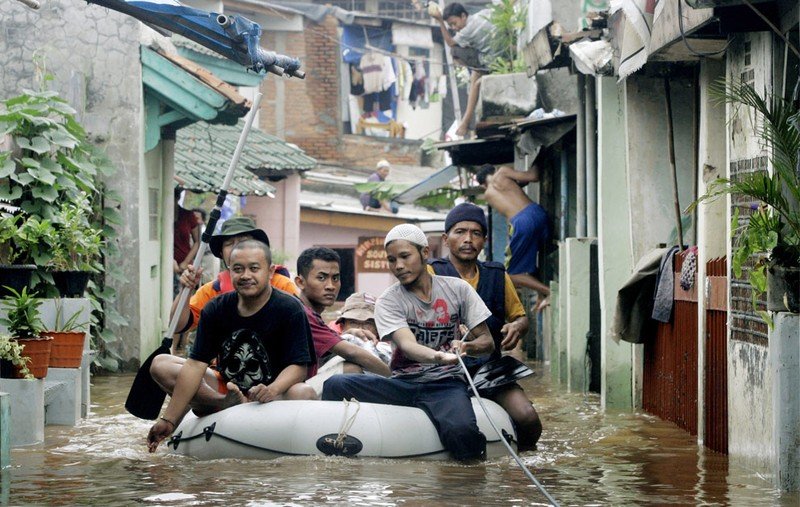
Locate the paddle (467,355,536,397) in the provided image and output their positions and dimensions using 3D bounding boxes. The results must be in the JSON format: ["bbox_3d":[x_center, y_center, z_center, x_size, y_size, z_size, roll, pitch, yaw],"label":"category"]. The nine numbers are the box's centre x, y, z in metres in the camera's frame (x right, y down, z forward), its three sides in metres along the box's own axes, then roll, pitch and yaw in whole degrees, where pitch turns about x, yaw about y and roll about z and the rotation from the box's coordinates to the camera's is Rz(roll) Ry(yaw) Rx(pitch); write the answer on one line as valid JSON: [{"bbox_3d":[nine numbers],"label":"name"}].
[{"bbox_3d":[1.034,1.203,10.848,0.639,0.353,0.129,-31,-30,-9],"label":"paddle"}]

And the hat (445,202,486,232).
[{"bbox_3d":[0.669,-0.382,11.247,0.313,0.271,0.322,3,-5,-16],"label":"hat"}]

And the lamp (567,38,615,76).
[{"bbox_3d":[2.213,-2.257,12.579,0.278,0.393,0.557,-5,10,-32],"label":"lamp"}]

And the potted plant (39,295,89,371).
[{"bbox_3d":[-3.707,0.882,12.252,0.672,0.737,0.555,3,-7,-15],"label":"potted plant"}]

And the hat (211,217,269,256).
[{"bbox_3d":[-1.702,-0.171,11.530,0.535,0.259,0.628,-6,-24,-3],"label":"hat"}]

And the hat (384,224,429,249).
[{"bbox_3d":[0.077,-0.172,10.235,0.253,0.169,0.269,1,-6,9],"label":"hat"}]
